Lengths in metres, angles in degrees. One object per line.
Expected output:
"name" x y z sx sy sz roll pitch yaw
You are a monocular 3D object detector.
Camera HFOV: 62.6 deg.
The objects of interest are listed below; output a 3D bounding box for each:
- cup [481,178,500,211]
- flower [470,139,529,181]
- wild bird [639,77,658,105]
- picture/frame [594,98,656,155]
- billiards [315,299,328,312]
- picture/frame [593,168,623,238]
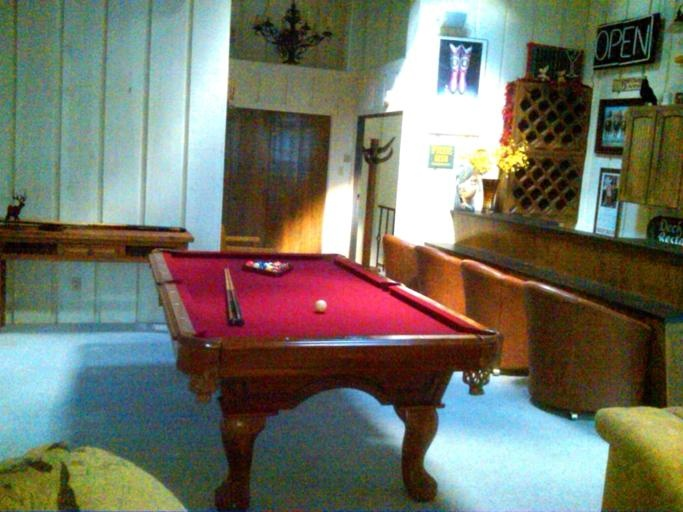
"cup" 1.804 -0.751 6.911 0.196 0.397 0.189 4 12 -1
"flower" 1.901 -1.215 6.968 0.676 0.438 0.325 -2 5 -21
"wild bird" 3.360 -1.801 6.130 0.179 0.334 0.538 10 12 26
"picture/frame" 3.258 -1.486 6.419 0.069 0.814 0.916 -1 -1 -20
"billiards" -0.110 0.277 3.222 0.061 0.072 0.061 -25 -19 -15
"picture/frame" 3.284 -0.636 6.910 0.043 0.798 0.329 -7 17 -29
